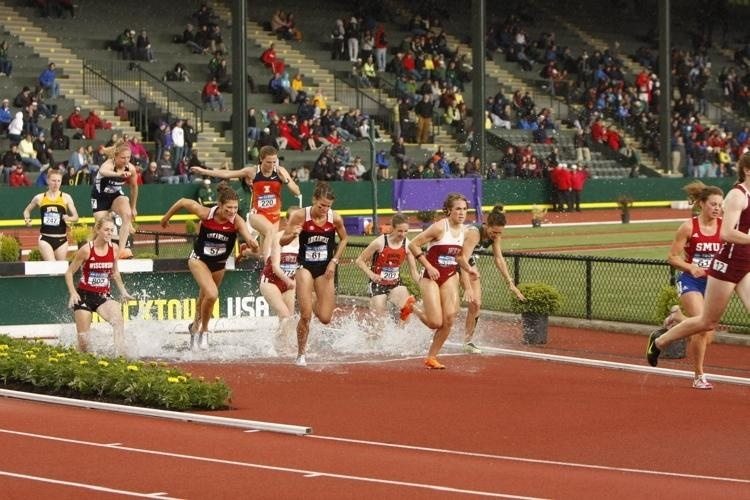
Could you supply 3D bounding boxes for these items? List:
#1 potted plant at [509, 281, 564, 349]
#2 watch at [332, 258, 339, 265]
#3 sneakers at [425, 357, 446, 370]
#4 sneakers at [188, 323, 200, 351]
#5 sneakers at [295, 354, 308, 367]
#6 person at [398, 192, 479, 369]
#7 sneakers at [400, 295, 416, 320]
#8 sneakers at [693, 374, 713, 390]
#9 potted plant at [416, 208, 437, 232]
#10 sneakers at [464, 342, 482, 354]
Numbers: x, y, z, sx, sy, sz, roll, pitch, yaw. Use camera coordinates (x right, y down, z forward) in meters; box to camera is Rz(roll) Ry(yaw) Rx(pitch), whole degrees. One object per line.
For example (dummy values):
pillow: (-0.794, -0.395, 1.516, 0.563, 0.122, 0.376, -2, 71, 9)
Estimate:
potted plant: (2.906, 1.198, 18.009, 0.938, 1.207, 1.065, 2, 0, 16)
watch: (-0.638, 0.193, 15.627, 0.079, 0.026, 0.085, -3, 43, 4)
sneakers: (0.971, 1.861, 15.859, 0.370, 0.195, 0.142, 4, 25, 5)
sneakers: (-3.196, 1.546, 17.388, 0.213, 0.582, 0.200, -5, -1, 33)
sneakers: (-1.200, 1.838, 16.059, 0.125, 0.152, 0.215, 2, -14, -10)
person: (1.026, 0.518, 15.842, 0.825, 2.853, 0.640, 1, 7, 4)
sneakers: (0.565, 1.032, 16.541, 0.223, 0.435, 0.154, 30, 3, -5)
sneakers: (4.765, 1.974, 14.450, 0.143, 0.191, 0.367, 0, -1, -43)
potted plant: (1.806, -1.057, 34.964, 0.736, 0.811, 0.758, 1, 1, -11)
sneakers: (1.698, 1.745, 17.160, 0.290, 0.141, 0.140, 1, 4, 11)
